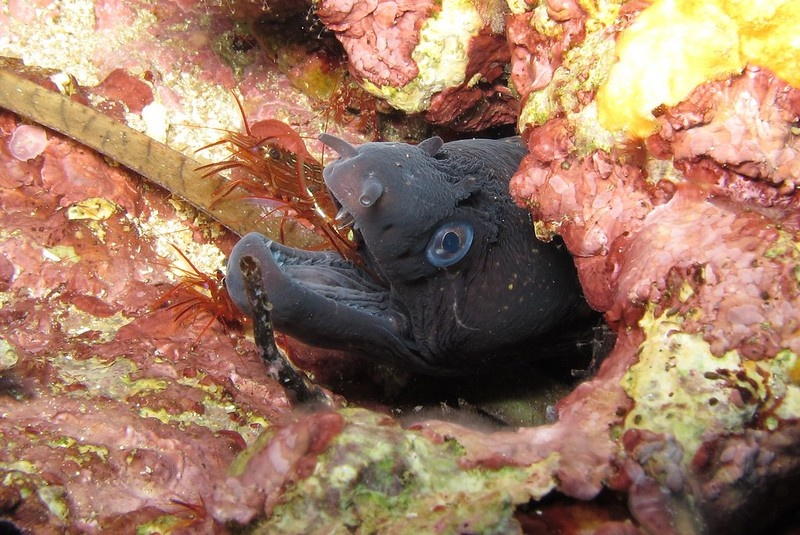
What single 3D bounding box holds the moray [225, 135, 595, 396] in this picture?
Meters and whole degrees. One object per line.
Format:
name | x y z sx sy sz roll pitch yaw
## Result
moray | 0.171 -0.041 5.109 2.218 1.029 1.320 6 35 -25
